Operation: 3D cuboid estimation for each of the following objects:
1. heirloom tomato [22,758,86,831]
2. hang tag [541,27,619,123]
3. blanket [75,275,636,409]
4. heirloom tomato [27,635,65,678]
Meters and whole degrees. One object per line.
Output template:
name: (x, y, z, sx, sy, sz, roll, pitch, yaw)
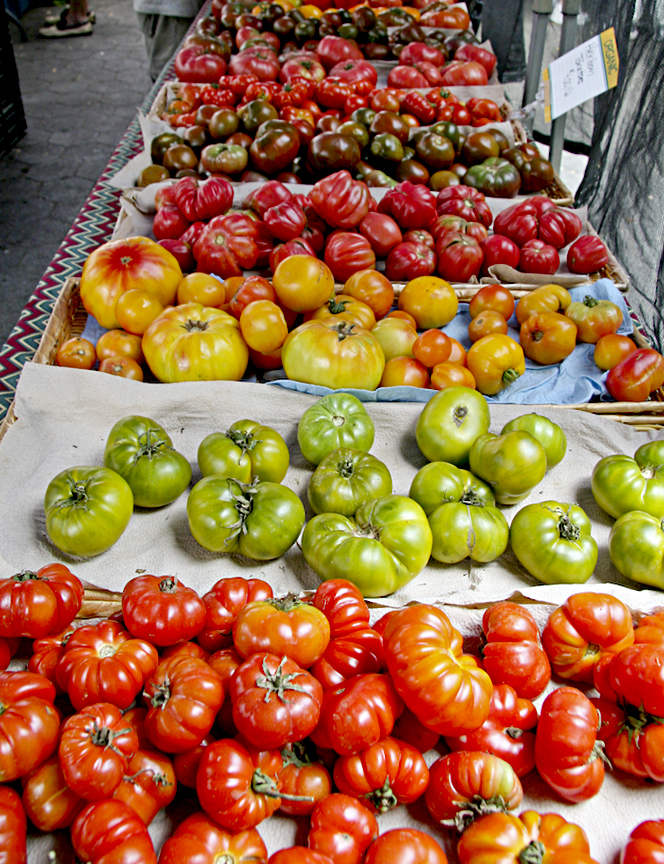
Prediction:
heirloom tomato: (-0.422, 0.535, 1.026, 0.079, 0.056, 0.100, 9, 54, -18)
hang tag: (1.063, -1.528, 2.979, 0.006, 0.396, 0.246, -2, 89, -36)
blanket: (0.166, -0.164, 2.140, 1.740, 1.672, 0.180, 0, 87, -1)
heirloom tomato: (-0.511, 0.401, 1.228, 0.057, 0.062, 0.035, 7, 65, 6)
